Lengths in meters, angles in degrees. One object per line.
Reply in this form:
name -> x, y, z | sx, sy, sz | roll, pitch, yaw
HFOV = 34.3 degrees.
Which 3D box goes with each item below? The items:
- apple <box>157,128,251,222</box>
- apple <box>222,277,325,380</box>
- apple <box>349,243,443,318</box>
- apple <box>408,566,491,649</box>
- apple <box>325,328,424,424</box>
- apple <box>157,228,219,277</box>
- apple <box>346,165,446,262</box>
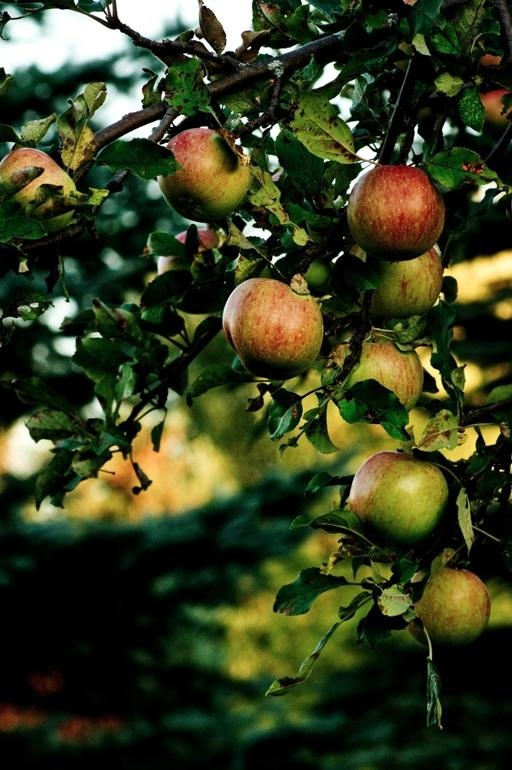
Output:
apple -> -0.092, -0.385, 1.520 | 0.162, 0.164, 0.100 | 0, 11, -7
apple -> 0.027, -0.101, 1.532 | 0.188, 0.195, 0.112 | 2, 11, 4
apple -> 0.284, -0.194, 1.678 | 0.160, 0.122, 0.145 | -8, -13, 12
apple -> 0.348, 0.398, 1.565 | 0.163, 0.156, 0.150 | 8, -3, 3
apple -> 0.265, -0.021, 1.665 | 0.108, 0.148, 0.171 | 6, 11, 23
apple -> -0.145, -0.288, 1.774 | 0.126, 0.102, 0.193 | 1, 10, -6
apple -> 0.253, -0.305, 1.546 | 0.191, 0.146, 0.172 | 3, -10, 6
